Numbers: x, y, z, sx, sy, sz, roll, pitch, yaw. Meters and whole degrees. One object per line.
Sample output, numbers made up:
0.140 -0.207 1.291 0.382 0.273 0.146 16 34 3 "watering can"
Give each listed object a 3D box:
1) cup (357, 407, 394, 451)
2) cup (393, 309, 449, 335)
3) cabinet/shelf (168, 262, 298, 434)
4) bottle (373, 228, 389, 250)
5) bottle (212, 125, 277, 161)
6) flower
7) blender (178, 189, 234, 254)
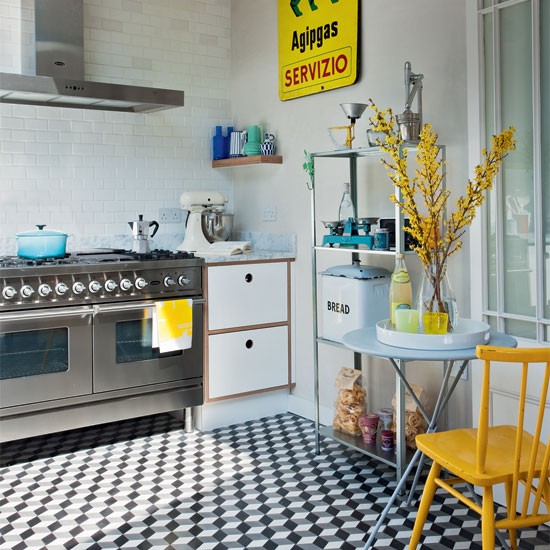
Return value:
0.511 0.770 2.519 0.157 0.118 0.143 -1 -2 0 "cup"
0.522 0.166 1.818 0.143 0.063 0.087 1 1 44 "cup"
-0.308 0.405 3.435 0.715 1.027 0.651 -5 8 -44 "cabinet/shelf"
0.471 -0.152 2.294 0.097 0.093 0.061 1 2 38 "bottle"
-0.205 -0.931 3.620 0.150 0.139 0.362 -4 7 -44 "bottle"
0.681 -0.317 2.066 0.560 1.002 0.958 -1 2 10 "flower"
-0.494 -0.375 3.547 0.315 0.437 0.180 -2 2 -43 "blender"
